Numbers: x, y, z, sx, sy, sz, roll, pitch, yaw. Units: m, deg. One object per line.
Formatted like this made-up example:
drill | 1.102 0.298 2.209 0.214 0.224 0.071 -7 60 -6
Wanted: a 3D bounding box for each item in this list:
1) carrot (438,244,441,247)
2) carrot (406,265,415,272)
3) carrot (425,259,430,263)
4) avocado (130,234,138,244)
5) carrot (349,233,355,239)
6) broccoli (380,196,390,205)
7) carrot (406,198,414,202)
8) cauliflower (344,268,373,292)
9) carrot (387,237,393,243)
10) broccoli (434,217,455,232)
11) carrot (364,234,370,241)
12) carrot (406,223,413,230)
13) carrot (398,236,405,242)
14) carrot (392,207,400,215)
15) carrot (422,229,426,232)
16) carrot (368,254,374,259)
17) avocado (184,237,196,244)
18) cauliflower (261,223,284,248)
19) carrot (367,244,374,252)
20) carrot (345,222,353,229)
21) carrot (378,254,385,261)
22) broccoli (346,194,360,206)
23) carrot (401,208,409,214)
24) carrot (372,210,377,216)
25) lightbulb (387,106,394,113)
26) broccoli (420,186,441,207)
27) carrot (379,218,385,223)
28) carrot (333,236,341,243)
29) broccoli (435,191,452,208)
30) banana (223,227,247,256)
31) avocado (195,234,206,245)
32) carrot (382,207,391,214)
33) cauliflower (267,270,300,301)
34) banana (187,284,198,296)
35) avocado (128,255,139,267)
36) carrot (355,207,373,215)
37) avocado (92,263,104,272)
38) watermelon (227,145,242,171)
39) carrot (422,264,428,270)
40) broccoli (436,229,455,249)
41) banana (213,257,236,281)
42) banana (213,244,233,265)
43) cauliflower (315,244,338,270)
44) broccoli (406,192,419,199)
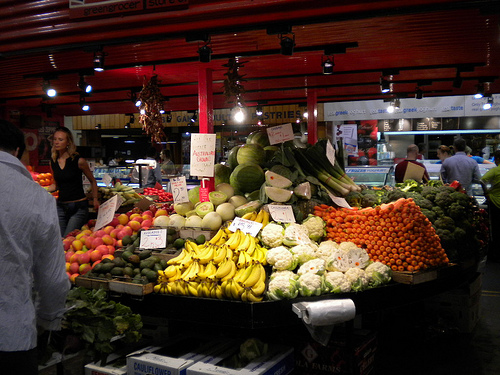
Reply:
carrot | 1.620 0.496 3.165 0.024 0.006 0.023 -18 14 -35
carrot | 1.295 0.654 2.985 0.039 0.040 0.048 -25 36 15
carrot | 1.453 0.608 3.036 0.023 0.016 0.028 3 -6 -17
avocado | -1.148 0.518 3.666 0.055 0.041 0.071 -1 11 2
carrot | 0.896 0.431 3.256 0.040 0.043 0.014 4 -12 27
broccoli | 1.402 0.141 3.819 0.070 0.036 0.089 -7 5 -16
carrot | 1.383 0.110 3.203 0.031 0.040 0.078 0 -4 5
cauliflower | 0.854 0.723 2.913 0.164 0.191 0.156 18 -40 -6
carrot | 1.163 0.439 3.061 0.034 0.043 0.035 -7 2 23
broccoli | 1.852 0.354 3.519 0.139 0.069 0.111 24 42 24
carrot | 1.002 0.430 3.171 0.037 0.038 0.036 -6 2 -1
carrot | 1.302 0.321 3.024 0.042 0.044 0.052 -6 20 -6
carrot | 1.245 0.426 3.028 0.032 0.040 0.033 -11 7 -21
carrot | 1.216 0.193 3.075 0.058 0.057 0.015 -1 4 37
carrot | 1.440 0.357 3.051 0.029 0.028 0.005 -6 4 -34
carrot | 1.010 0.577 3.086 0.032 0.039 0.018 42 31 14
avocado | -0.541 0.497 3.389 0.073 0.041 0.055 33 -10 -32
cauliflower | 0.198 0.409 3.164 0.148 0.194 0.167 2 4 -1
carrot | 1.012 0.507 3.119 0.041 0.044 0.025 -6 -5 23
carrot | 0.884 0.342 3.309 0.045 0.040 0.038 1 -18 -23
carrot | 1.087 0.586 3.056 0.038 0.042 0.015 -1 4 34
broccoli | 1.111 0.131 3.981 0.094 0.043 0.115 -7 21 7
carrot | 1.280 0.193 3.046 0.052 0.045 0.020 -3 3 5
carrot | 1.077 0.225 3.198 0.043 0.047 0.019 -2 4 29
lightbulb | 4.023 -2.264 10.587 0.189 0.200 0.107 5 -9 2
broccoli | 1.877 0.089 3.826 0.149 0.085 0.190 -15 16 30
carrot | 1.117 0.282 3.130 0.036 0.037 0.014 -1 4 39
carrot | 0.784 0.475 3.315 0.053 0.046 0.044 7 -22 5
broccoli | 1.930 0.109 3.714 0.123 0.088 0.146 -38 22 20
banana | -0.099 0.450 3.175 0.081 0.177 0.109 -29 15 -5
avocado | -0.447 0.494 3.441 0.064 0.070 0.090 3 47 27
carrot | 1.158 0.192 3.123 0.040 0.048 0.065 -5 4 -22
cauliflower | 0.252 0.737 2.785 0.241 0.167 0.235 -3 4 9
banana | -0.441 0.797 2.847 0.036 0.109 0.039 -38 2 -7
avocado | -1.008 0.640 3.219 0.068 0.074 0.092 3 -3 -1
carrot | 1.030 0.217 3.394 0.086 0.023 0.087 -12 7 29
avocado | -1.306 0.690 3.173 0.082 0.064 0.048 -44 29 5
watermelon | -0.149 -0.333 4.310 0.221 0.280 0.225 -10 -11 41
carrot | 1.436 0.658 3.030 0.038 0.031 0.030 -1 22 -29
broccoli | 1.815 0.479 3.493 0.134 0.189 0.085 -18 -14 -20
banana | -0.176 0.636 2.870 0.103 0.090 0.177 1 26 7
banana | -0.212 0.536 2.990 0.070 0.135 0.215 10 28 15
cauliflower | 0.644 0.573 3.067 0.141 0.102 0.170 -19 14 -38
broccoli | 1.675 0.076 3.823 0.080 0.037 0.102 2 9 37
